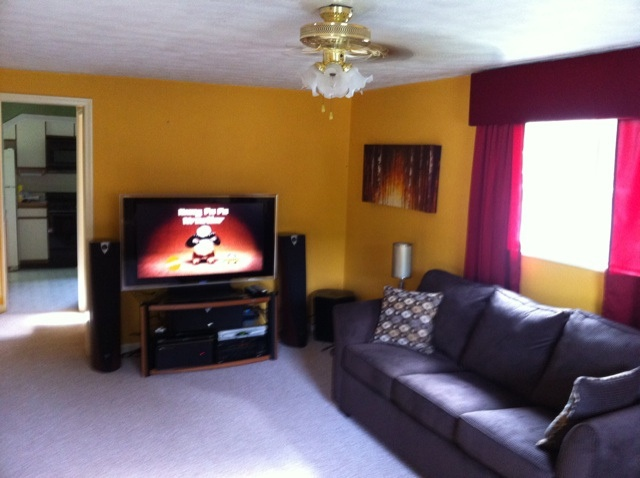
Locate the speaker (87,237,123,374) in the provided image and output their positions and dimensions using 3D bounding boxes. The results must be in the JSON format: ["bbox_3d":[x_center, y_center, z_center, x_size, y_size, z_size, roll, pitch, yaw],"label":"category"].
[{"bbox_3d":[-1.954,0.631,4.710,0.312,1.218,0.133,-5,11,-25],"label":"speaker"}]

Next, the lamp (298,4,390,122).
[{"bbox_3d":[0.130,-0.998,3.033,0.597,0.513,0.583,0,1,-2],"label":"lamp"}]

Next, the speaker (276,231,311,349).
[{"bbox_3d":[-0.310,0.538,5.469,0.372,1.185,0.321,2,10,12],"label":"speaker"}]

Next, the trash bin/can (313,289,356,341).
[{"bbox_3d":[0.179,0.863,5.729,0.482,0.529,0.484,-4,8,-22],"label":"trash bin/can"}]
